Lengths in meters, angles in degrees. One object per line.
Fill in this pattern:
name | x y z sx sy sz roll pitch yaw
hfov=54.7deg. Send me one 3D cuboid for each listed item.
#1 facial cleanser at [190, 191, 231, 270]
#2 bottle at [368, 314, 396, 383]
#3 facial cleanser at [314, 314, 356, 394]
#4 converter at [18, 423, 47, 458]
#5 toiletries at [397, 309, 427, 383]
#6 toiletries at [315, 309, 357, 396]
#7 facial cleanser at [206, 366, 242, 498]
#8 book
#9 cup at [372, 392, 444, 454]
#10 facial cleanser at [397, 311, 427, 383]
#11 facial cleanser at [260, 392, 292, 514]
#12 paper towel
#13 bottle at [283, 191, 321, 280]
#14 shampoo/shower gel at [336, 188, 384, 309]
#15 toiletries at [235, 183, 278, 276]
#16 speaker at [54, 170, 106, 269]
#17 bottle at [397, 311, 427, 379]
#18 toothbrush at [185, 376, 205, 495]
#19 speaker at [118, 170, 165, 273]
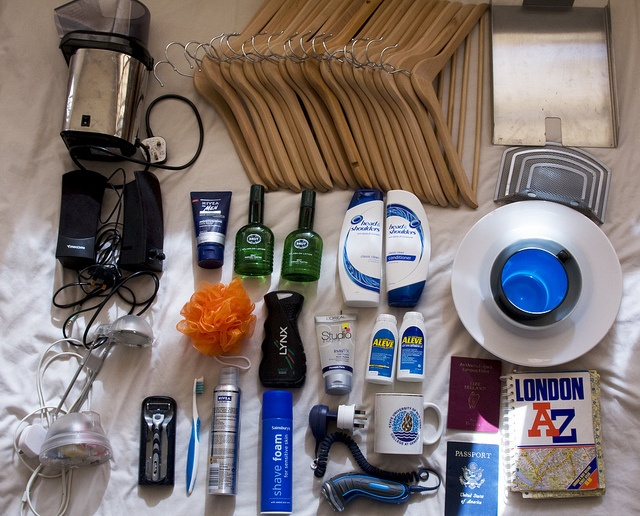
facial cleanser | -0.277 -0.073 1.617 0.079 0.191 0.105 -1 11 1
bottle | 0.147 0.220 1.508 0.071 0.161 0.028 1 -5 2
facial cleanser | 0.034 0.239 1.524 0.103 0.201 0.069 1 -5 1
converter | -0.683 0.437 1.466 0.060 0.078 0.046 4 -6 -25
toiletries | 0.220 0.215 1.505 0.064 0.165 0.071 1 27 9
toiletries | 0.038 0.231 1.497 0.087 0.187 0.102 -1 2 3
facial cleanser | -0.228 0.408 1.465 0.065 0.289 0.059 2 -5 -12
book | 0.545 0.410 1.467 0.230 0.294 0.075 -1 -9 3
cup | 0.209 0.390 1.466 0.165 0.135 0.086 1 -6 2
facial cleanser | 0.220 0.215 1.512 0.065 0.165 0.038 1 -5 6
facial cleanser | -0.102 0.451 1.443 0.070 0.271 0.045 2 -5 -7
paper towel | 0.518 0.068 1.511 0.251 0.572 0.260 3 20 6
bottle | -0.046 -0.058 1.592 0.104 0.242 0.085 1 -5 -1
shampoo/shower gel | 0.105 -0.024 1.581 0.092 0.307 0.110 -1 30 4
toiletries | -0.171 -0.057 1.574 0.058 0.263 0.075 2 0 11
speaker | -0.627 -0.106 1.608 0.115 0.246 0.057 5 -13 -6
bottle | 0.223 0.214 1.505 0.063 0.158 0.070 1 27 9
toothbrush | -0.304 0.430 1.497 0.032 0.270 0.050 2 -5 -7
speaker | -0.457 -0.100 1.604 0.109 0.261 0.072 3 -6 -19
